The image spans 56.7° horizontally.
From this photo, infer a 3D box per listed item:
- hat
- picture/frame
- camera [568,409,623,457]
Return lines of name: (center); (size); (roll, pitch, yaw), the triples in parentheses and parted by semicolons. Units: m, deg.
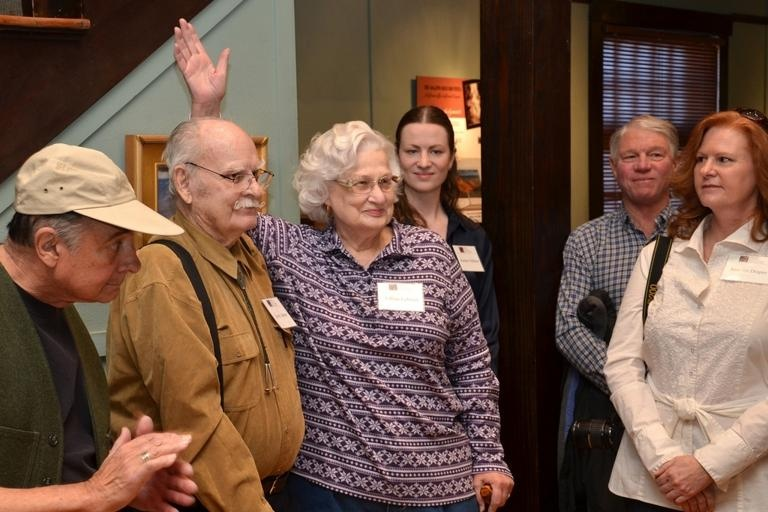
hat: (-0.973, -0.223, 2.448); (0.447, 0.203, 0.308); (15, 1, -10)
picture/frame: (-0.765, -0.253, 2.873); (0.531, 0.495, 0.069); (-2, -4, -31)
camera: (1.006, 0.814, 3.370); (0.237, 0.211, 0.150); (0, 42, 20)
